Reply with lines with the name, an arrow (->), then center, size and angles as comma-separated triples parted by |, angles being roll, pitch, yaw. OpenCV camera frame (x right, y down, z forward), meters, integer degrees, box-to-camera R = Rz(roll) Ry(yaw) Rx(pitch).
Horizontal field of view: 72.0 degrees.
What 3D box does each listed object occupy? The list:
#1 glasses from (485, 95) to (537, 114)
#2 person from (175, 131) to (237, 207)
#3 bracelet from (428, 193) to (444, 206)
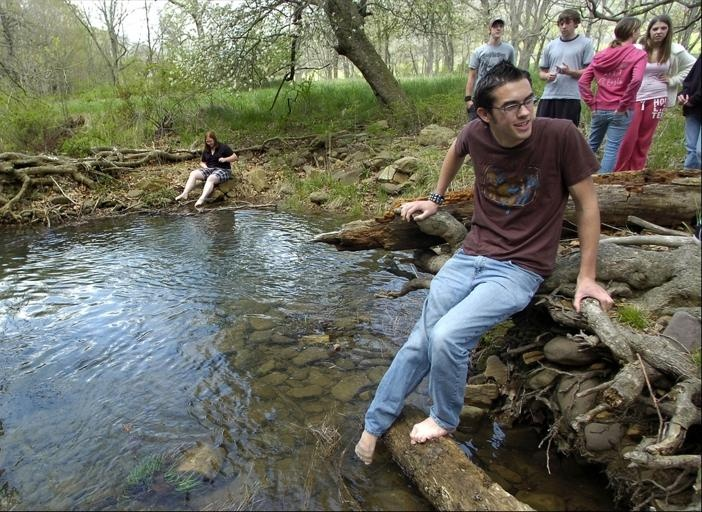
glasses -> 1.461, -1.337, 4.247 | 0.399, 0.124, 0.119 | -10, 22, -13
person -> -3.720, -2.274, 12.327 | 1.032, 1.345, 1.930 | 8, 32, 16
bracelet -> 0.954, -0.631, 5.414 | 0.160, 0.139, 0.158 | 8, 9, -36
